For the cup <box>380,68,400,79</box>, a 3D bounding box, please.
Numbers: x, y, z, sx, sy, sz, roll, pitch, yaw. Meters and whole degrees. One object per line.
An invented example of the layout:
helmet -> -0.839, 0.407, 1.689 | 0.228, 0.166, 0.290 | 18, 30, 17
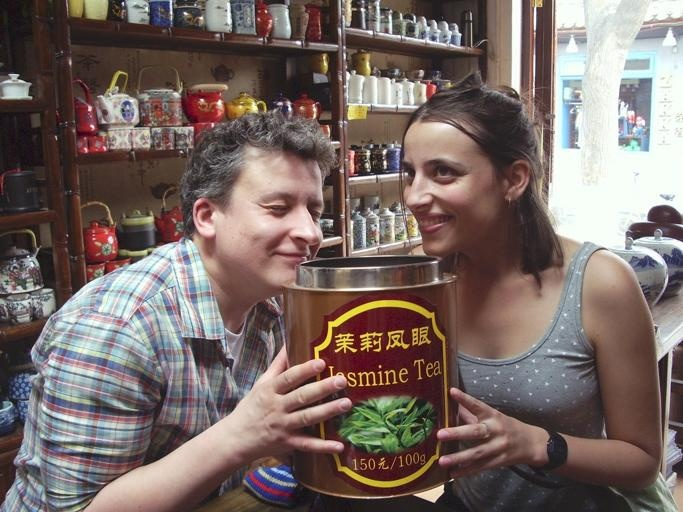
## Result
cup -> 0.312, -1.130, 3.332 | 0.106, 0.061, 0.103 | 0, 10, 0

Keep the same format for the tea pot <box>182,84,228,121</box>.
tea pot -> -0.622, -0.672, 2.368 | 0.205, 0.176, 0.197 | 1, 14, 0

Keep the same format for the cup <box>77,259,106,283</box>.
cup -> -0.970, 0.058, 2.070 | 0.116, 0.081, 0.117 | -2, -2, 0

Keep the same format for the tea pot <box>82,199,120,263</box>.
tea pot -> -0.981, -0.096, 2.131 | 0.156, 0.228, 0.141 | -6, 20, -7

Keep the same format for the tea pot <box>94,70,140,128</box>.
tea pot -> -0.905, -0.624, 2.120 | 0.154, 0.205, 0.219 | 6, 18, 13

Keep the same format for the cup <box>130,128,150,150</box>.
cup -> -0.806, -0.470, 2.145 | 0.086, 0.080, 0.083 | 1, 8, 0

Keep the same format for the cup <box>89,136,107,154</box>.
cup -> -0.939, -0.424, 2.043 | 0.065, 0.061, 0.063 | -1, 3, 0

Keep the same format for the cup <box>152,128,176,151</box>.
cup -> -0.739, -0.477, 2.184 | 0.099, 0.088, 0.085 | 0, 4, -6

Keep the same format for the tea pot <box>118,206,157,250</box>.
tea pot -> -0.875, -0.110, 2.256 | 0.153, 0.155, 0.148 | -1, 11, 0

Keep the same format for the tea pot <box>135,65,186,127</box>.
tea pot -> -0.772, -0.669, 2.241 | 0.187, 0.244, 0.188 | 1, 15, 0

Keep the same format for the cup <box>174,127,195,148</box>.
cup -> -0.666, -0.491, 2.271 | 0.115, 0.104, 0.079 | -1, 4, -15

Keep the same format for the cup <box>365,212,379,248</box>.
cup -> 0.172, -0.169, 3.246 | 0.119, 0.193, 0.115 | -2, 5, 0

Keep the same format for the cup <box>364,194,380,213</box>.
cup -> 0.193, -0.338, 3.455 | 0.114, 0.121, 0.110 | 0, 0, 0

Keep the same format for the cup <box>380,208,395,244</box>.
cup -> 0.293, -0.178, 3.334 | 0.119, 0.197, 0.120 | 0, 1, 0

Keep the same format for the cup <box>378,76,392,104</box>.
cup -> 0.260, -0.994, 3.193 | 0.083, 0.159, 0.055 | -4, 12, -8

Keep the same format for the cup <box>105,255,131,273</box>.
cup -> -0.798, 0.029, 1.865 | 0.074, 0.052, 0.076 | -2, 3, 0

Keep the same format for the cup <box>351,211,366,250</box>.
cup -> 0.106, -0.142, 3.137 | 0.084, 0.210, 0.132 | -1, 12, 4

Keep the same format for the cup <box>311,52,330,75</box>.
cup -> -0.113, -1.028, 2.831 | 0.095, 0.077, 0.084 | -4, 15, -2

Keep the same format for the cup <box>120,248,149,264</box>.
cup -> -0.796, 0.001, 2.000 | 0.067, 0.060, 0.065 | 0, -3, 0

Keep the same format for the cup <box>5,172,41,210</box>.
cup -> -1.143, -0.235, 1.889 | 0.122, 0.130, 0.137 | -1, 6, 4

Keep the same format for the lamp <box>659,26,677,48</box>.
lamp -> 2.134, -1.442, 3.495 | 0.107, 0.119, 0.114 | 4, 38, 15

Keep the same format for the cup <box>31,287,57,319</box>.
cup -> -1.112, 0.183, 1.966 | 0.101, 0.093, 0.098 | 2, 1, 0

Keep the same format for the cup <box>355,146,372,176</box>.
cup -> 0.135, -0.565, 3.166 | 0.122, 0.161, 0.054 | -13, 16, -42
